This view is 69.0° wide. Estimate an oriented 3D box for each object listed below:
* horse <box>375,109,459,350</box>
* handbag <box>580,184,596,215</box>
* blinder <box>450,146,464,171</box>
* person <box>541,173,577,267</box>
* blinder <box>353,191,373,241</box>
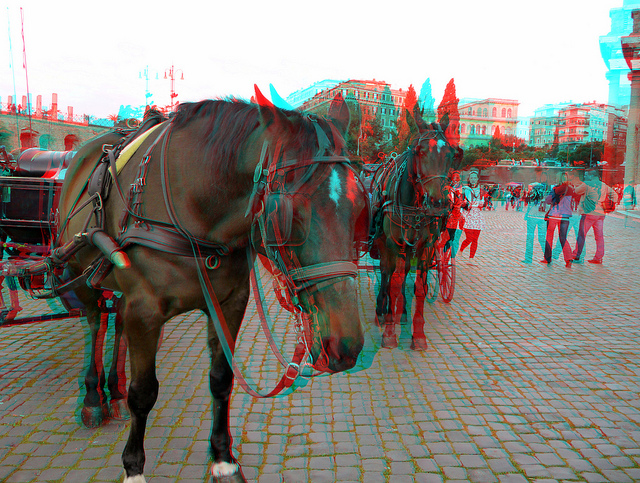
[{"bbox_3d":[1.137,-0.126,5.596,0.773,2.792,1.167,-1,12,-13],"label":"horse"},{"bbox_3d":[6.363,-0.909,11.015,0.316,0.597,0.290,4,12,13],"label":"handbag"},{"bbox_3d":[1.539,-0.921,5.206,0.072,0.265,0.270,8,13,29],"label":"blinder"},{"bbox_3d":[5.686,-0.497,10.908,0.630,2.051,1.420,7,13,27],"label":"person"},{"bbox_3d":[0.248,-0.120,2.695,0.180,0.151,0.231,-2,-1,2],"label":"blinder"}]
